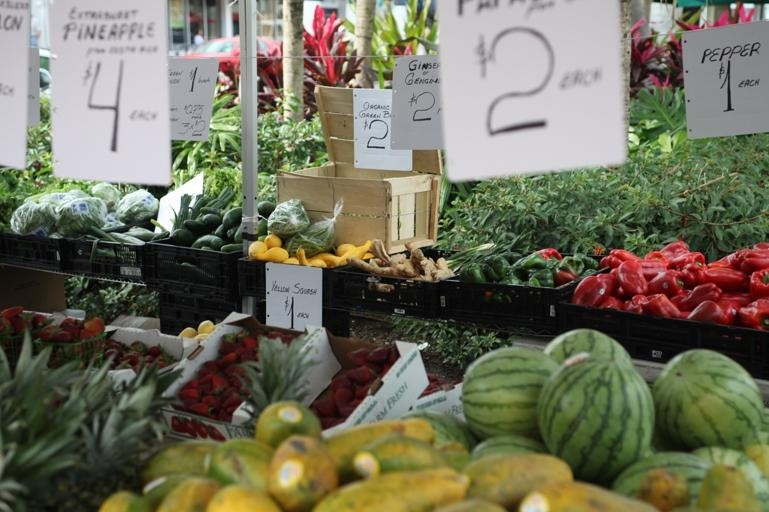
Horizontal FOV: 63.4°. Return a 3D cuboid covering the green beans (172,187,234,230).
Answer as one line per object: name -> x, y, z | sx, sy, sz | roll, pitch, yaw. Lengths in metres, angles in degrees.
green beans -> -1.429, -0.418, 5.061 | 0.423, 0.348, 0.325 | 5, 17, 31
